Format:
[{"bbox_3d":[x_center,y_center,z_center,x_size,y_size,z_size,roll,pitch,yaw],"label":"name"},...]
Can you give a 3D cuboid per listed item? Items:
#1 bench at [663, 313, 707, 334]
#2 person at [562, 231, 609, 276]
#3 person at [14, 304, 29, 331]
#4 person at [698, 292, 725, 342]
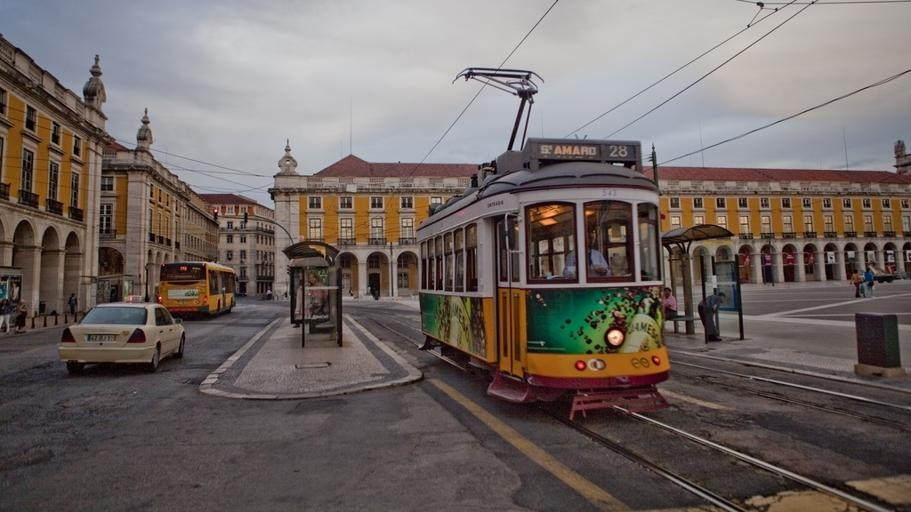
[{"bbox_3d":[10.165,2.944,28.290,1.192,0.424,1.840,-1,-3,-5],"label":"bench"},{"bbox_3d":[3.857,-0.272,19.557,1.850,1.354,0.965,-1,-7,3],"label":"person"},{"bbox_3d":[-22.956,3.267,33.973,0.382,1.468,0.777,3,-7,-41],"label":"person"},{"bbox_3d":[10.765,2.565,27.014,1.340,2.027,0.609,3,-7,-42],"label":"person"}]
